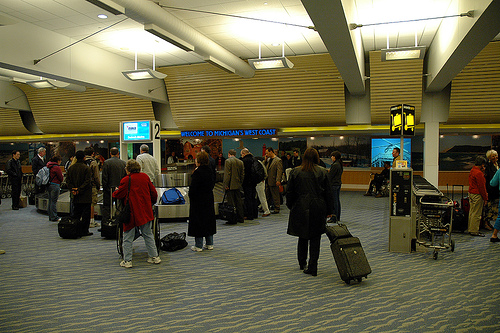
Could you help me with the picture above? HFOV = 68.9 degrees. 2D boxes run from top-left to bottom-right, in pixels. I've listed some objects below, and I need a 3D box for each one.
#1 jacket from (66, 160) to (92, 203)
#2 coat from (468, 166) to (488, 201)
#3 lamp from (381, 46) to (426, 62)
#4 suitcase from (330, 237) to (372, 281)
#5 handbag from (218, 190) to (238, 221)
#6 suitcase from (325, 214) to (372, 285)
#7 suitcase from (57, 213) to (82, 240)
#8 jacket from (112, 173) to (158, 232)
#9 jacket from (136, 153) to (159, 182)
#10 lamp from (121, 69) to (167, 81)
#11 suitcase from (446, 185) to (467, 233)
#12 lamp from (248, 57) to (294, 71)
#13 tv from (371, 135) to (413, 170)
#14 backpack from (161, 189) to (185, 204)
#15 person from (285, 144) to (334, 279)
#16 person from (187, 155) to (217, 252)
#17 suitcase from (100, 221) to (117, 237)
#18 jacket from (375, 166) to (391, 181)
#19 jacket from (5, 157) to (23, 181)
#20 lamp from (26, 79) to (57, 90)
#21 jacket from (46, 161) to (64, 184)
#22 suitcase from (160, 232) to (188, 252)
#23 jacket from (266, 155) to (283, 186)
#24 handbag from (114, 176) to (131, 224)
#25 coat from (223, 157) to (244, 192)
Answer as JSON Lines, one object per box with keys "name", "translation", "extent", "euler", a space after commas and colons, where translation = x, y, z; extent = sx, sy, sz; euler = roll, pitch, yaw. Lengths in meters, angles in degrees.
{"name": "jacket", "translation": [-4.545, 0.453, 9.667], "extent": [0.593, 1.042, 0.405], "euler": [-4, 7, -25]}
{"name": "coat", "translation": [5.965, 0.450, 9.476], "extent": [0.422, 0.900, 0.443], "euler": [3, 7, 33]}
{"name": "lamp", "translation": [4.275, -3.155, 10.161], "extent": [1.138, 0.306, 0.885], "euler": [2, 7, 19]}
{"name": "suitcase", "translation": [1.889, 1.716, 6.787], "extent": [0.629, 0.730, 0.424], "euler": [-3, 6, -20]}
{"name": "handbag", "translation": [-0.662, 1.193, 10.961], "extent": [0.522, 0.938, 0.585], "euler": [-1, 6, 1]}
{"name": "suitcase", "translation": [1.900, 1.746, 6.776], "extent": [0.697, 0.788, 0.419], "euler": [-2, 6, -12]}
{"name": "suitcase", "translation": [-4.790, 1.549, 9.736], "extent": [0.543, 0.703, 0.664], "euler": [0, 0, 0]}
{"name": "jacket", "translation": [-2.424, 0.703, 7.633], "extent": [0.681, 1.116, 0.974], "euler": [1, 5, 42]}
{"name": "jacket", "translation": [-2.976, 0.071, 10.329], "extent": [0.458, 0.771, 0.807], "euler": [-7, -7, 27]}
{"name": "lamp", "translation": [-3.407, -3.033, 11.987], "extent": [1.540, 0.260, 0.941], "euler": [2, 7, 23]}
{"name": "suitcase", "translation": [5.742, 1.065, 9.974], "extent": [0.579, 1.158, 0.488], "euler": [4, 22, 36]}
{"name": "lamp", "translation": [0.642, -3.337, 11.762], "extent": [1.070, 0.247, 0.760], "euler": [3, 8, 22]}
{"name": "tv", "translation": [6.193, -0.645, 15.855], "extent": [1.758, 1.421, 0.113], "euler": [1, -1, 11]}
{"name": "backpack", "translation": [-2.363, 0.926, 11.172], "extent": [0.682, 0.427, 0.247], "euler": [-2, 6, -14]}
{"name": "person", "translation": [1.158, 0.871, 7.018], "extent": [0.919, 2.438, 0.522], "euler": [0, 6, 8]}
{"name": "person", "translation": [-1.104, 0.829, 8.430], "extent": [0.629, 2.233, 0.823], "euler": [-1, 6, -6]}
{"name": "suitcase", "translation": [-3.639, 1.622, 9.403], "extent": [0.477, 0.426, 0.260], "euler": [3, 4, 15]}
{"name": "jacket", "translation": [5.957, 0.312, 16.231], "extent": [0.567, 0.676, 0.708], "euler": [7, -1, -39]}
{"name": "jacket", "translation": [-9.010, 0.109, 13.904], "extent": [0.449, 0.921, 0.466], "euler": [-5, 7, -35]}
{"name": "lamp", "translation": [-7.623, -3.026, 13.339], "extent": [1.111, 0.243, 0.615], "euler": [3, 7, 29]}
{"name": "jacket", "translation": [-6.183, 0.211, 11.553], "extent": [0.396, 0.734, 0.452], "euler": [-4, 7, -30]}
{"name": "suitcase", "translation": [-1.767, 1.766, 8.532], "extent": [0.477, 0.150, 0.358], "euler": [-10, 28, -26]}
{"name": "jacket", "translation": [0.816, 0.167, 12.344], "extent": [0.612, 0.997, 0.298], "euler": [4, 7, 34]}
{"name": "handbag", "translation": [-2.553, 0.672, 7.350], "extent": [0.310, 0.940, 0.250], "euler": [-1, 6, -2]}
{"name": "coat", "translation": [-0.459, 0.209, 10.898], "extent": [0.706, 0.968, 0.229], "euler": [-5, 7, -33]}
